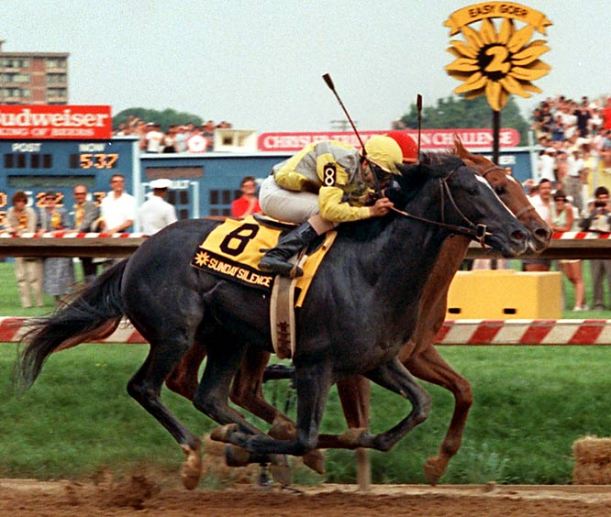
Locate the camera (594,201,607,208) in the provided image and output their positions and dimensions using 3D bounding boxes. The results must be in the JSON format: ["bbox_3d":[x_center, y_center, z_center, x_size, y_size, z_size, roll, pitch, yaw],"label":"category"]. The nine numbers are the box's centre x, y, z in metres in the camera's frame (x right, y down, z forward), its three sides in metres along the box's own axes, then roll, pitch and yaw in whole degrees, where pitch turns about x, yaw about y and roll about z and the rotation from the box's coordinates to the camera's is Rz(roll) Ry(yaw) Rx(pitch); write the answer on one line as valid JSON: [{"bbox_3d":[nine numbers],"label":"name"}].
[{"bbox_3d":[2.827,-0.524,9.279,0.056,0.059,0.164,-5,10,-18],"label":"camera"}]

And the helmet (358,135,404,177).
[{"bbox_3d":[0.442,-0.588,5.428,0.221,0.208,0.222,-1,10,5],"label":"helmet"}]

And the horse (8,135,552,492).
[{"bbox_3d":[-0.097,0.355,5.634,2.764,1.910,0.996,2,12,19],"label":"horse"}]
